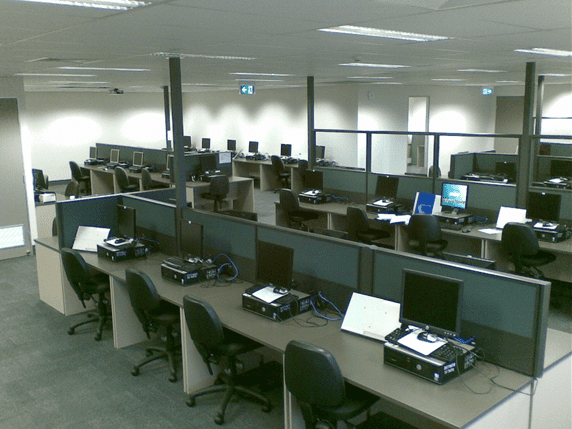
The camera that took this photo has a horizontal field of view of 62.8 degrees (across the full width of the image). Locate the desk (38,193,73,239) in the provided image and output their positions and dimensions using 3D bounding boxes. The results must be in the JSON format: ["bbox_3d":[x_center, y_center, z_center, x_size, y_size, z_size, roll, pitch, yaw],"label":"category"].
[{"bbox_3d":[-3.423,0.034,6.958,0.363,0.603,0.621,-5,14,-28],"label":"desk"}]

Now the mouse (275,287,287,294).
[{"bbox_3d":[-0.022,0.674,4.158,0.083,0.020,0.047,15,21,41],"label":"mouse"}]

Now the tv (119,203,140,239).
[{"bbox_3d":[-1.968,0.095,5.938,0.409,0.388,0.035,12,15,42],"label":"tv"}]

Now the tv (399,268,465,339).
[{"bbox_3d":[1.075,0.657,3.402,0.471,0.422,0.046,8,9,38],"label":"tv"}]

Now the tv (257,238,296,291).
[{"bbox_3d":[-0.064,0.457,4.210,0.043,0.403,0.431,-6,11,-45],"label":"tv"}]

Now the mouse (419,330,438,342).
[{"bbox_3d":[1.033,0.876,3.378,0.061,0.024,0.081,-14,21,-40],"label":"mouse"}]

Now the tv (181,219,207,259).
[{"bbox_3d":[-0.953,0.265,4.957,0.040,0.301,0.399,-5,10,-38],"label":"tv"}]
